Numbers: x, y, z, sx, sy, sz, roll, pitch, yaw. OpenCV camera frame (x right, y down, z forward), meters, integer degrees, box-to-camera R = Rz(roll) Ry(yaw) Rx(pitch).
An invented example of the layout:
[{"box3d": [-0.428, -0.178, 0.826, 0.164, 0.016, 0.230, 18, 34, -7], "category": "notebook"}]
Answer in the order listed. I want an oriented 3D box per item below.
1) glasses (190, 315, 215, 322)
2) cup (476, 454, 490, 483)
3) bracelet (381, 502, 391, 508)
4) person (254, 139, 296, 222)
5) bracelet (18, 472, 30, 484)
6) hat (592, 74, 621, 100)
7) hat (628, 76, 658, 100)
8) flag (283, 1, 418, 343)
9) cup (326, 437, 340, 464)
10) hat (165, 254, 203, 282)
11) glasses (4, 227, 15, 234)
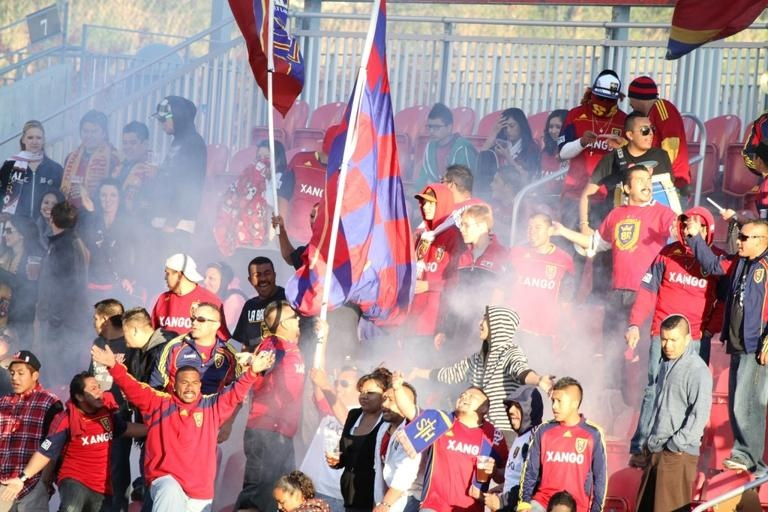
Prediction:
[{"box3d": [-1.664, 0.566, 7.792, 0.224, 0.062, 0.062, 3, -7, 11], "category": "glasses"}, {"box3d": [0.808, 1.739, 6.986, 0.114, 0.214, 0.072, 3, -6, 2], "category": "cup"}, {"box3d": [0.023, 2.041, 7.017, 0.054, 0.038, 0.112, -2, -10, 44], "category": "bracelet"}, {"box3d": [-1.392, -0.934, 10.776, 0.317, 0.408, 1.072, 13, 21, -13], "category": "person"}, {"box3d": [-3.373, 2.064, 7.988, 0.069, 0.056, 0.077, 3, -47, 11], "category": "bracelet"}, {"box3d": [2.527, -1.932, 9.764, 0.237, 0.311, 0.333, 7, 33, 2], "category": "hat"}, {"box3d": [2.774, -1.816, 9.166, 0.248, 0.224, 0.255, -7, 11, -31], "category": "hat"}, {"box3d": [-0.145, -0.913, 8.010, 1.122, 3.024, 0.914, 9, -8, -42], "category": "flag"}, {"box3d": [-0.450, 1.723, 7.477, 0.141, 0.260, 0.153, -1, -32, -1], "category": "cup"}, {"box3d": [-1.922, 0.085, 8.278, 0.331, 0.203, 0.242, 27, 4, -10], "category": "hat"}, {"box3d": [-4.825, -0.358, 11.005, 0.097, 0.119, 0.068, -3, -14, 12], "category": "glasses"}]
